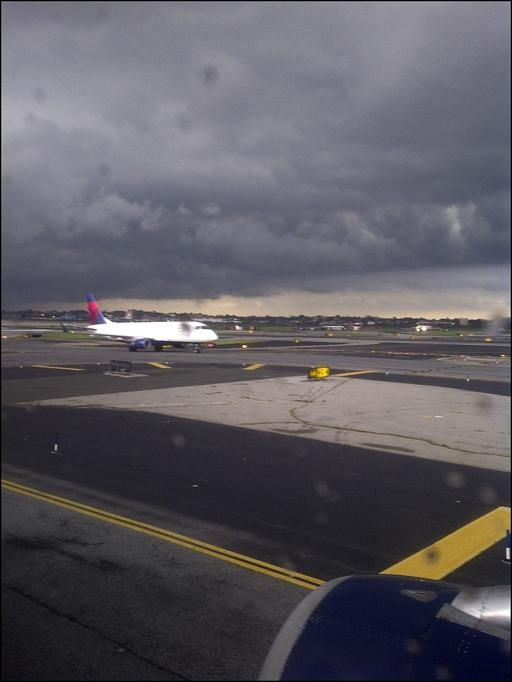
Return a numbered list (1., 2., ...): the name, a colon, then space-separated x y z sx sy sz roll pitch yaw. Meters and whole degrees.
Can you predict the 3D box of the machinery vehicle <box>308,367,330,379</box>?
1. machinery vehicle: 4.010 1.781 36.242 0.764 0.890 1.375 3 5 34
